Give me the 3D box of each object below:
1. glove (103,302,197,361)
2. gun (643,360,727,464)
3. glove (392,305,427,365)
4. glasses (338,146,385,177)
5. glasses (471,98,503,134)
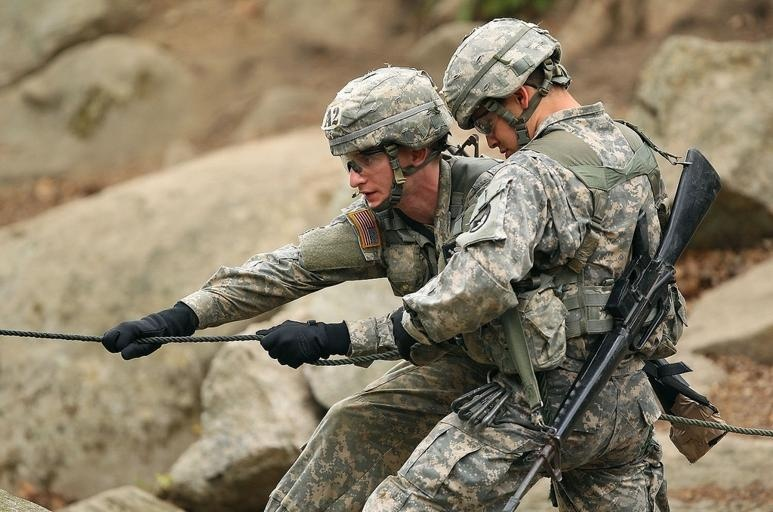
[{"bbox_3d":[-1.787,0.587,14.934,0.712,0.333,0.233,-30,37,-6],"label":"glove"},{"bbox_3d":[2.276,1.169,15.154,0.338,0.755,0.767,-15,67,-32],"label":"gun"},{"bbox_3d":[0.156,0.569,14.657,0.160,0.265,0.357,-5,68,7],"label":"glove"},{"bbox_3d":[-0.198,-0.753,14.853,0.226,0.121,0.241,-21,7,35],"label":"glasses"},{"bbox_3d":[0.734,-1.054,14.678,0.151,0.188,0.254,36,94,13],"label":"glasses"}]
